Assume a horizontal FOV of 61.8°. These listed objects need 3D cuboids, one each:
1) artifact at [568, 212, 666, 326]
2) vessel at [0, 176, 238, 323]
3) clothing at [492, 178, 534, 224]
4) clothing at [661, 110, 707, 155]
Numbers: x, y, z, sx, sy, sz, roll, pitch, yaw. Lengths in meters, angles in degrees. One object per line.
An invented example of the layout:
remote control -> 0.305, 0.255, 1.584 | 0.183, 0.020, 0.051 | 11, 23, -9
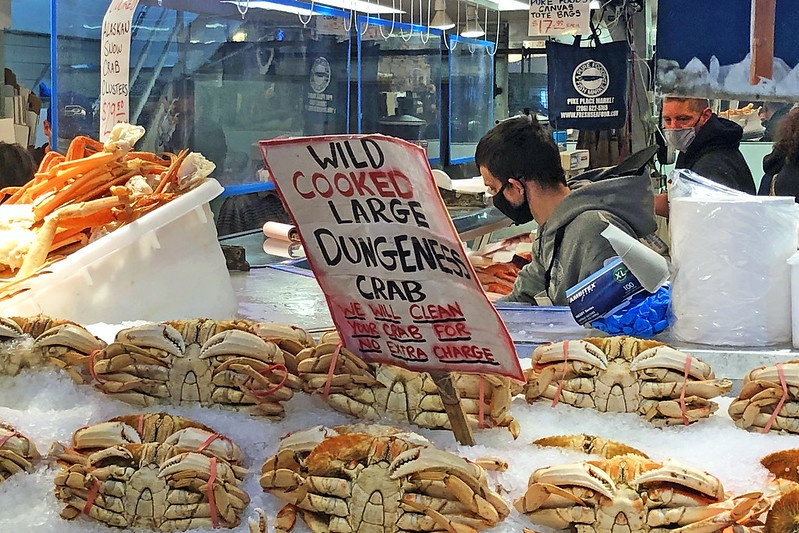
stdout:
artifact -> 0.586, 0.028, 1.781 | 0.276, 0.267, 0.157 | 1, 9, 8
vessel -> -0.695, -0.014, 1.740 | 0.330, 0.198, 0.474 | -25, -5, 38
clothing -> 0.464, -0.265, 2.763 | 0.129, 0.163, 0.096 | -12, -10, 2
clothing -> 1.680, -0.763, 3.928 | 0.157, 0.116, 0.156 | -29, 18, -14
